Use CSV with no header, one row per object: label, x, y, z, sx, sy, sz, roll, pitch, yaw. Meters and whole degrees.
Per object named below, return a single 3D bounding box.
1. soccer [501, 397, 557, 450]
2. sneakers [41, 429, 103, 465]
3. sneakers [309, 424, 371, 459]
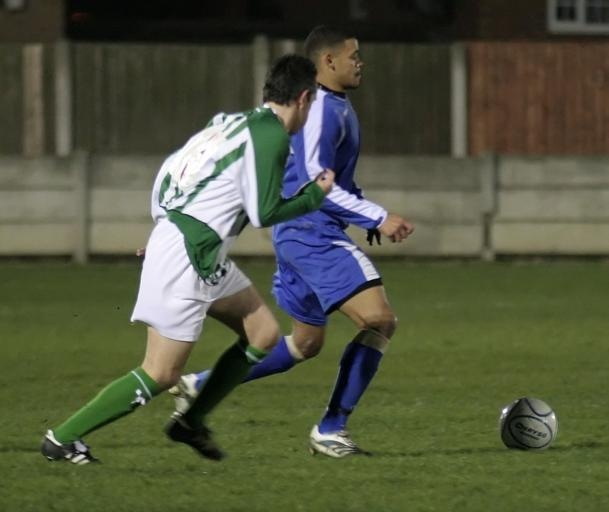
soccer,1.414,1.067,7.452,0.281,0.326,0.310,6,0,25
sneakers,-1.421,1.157,7.059,0.245,0.126,0.202,6,7,-14
sneakers,0.237,1.185,7.433,0.396,0.194,0.152,2,-5,8
